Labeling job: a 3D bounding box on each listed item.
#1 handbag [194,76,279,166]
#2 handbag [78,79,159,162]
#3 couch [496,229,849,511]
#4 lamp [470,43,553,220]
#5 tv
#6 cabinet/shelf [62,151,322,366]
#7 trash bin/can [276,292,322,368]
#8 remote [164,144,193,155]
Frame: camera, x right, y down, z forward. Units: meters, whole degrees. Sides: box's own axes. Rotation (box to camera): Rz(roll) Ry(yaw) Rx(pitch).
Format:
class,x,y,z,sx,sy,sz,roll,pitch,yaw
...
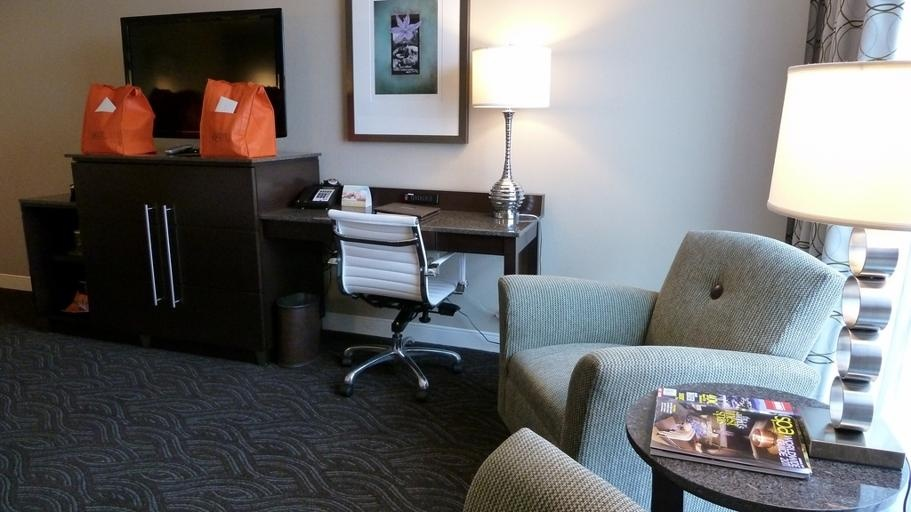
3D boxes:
class,x,y,z,sx,sy,sz,roll,pitch,yaw
handbag,-1.476,-0.917,4.362,0.697,0.600,0.358,6,8,23
handbag,-2.459,-1.011,4.668,0.596,0.501,0.315,9,14,23
couch,1.095,0.478,3.590,1.649,1.394,1.469,-1,12,-11
lamp,0.336,-0.796,4.189,0.524,1.117,0.403,3,17,5
tv,-1.771,-1.243,4.543,1.326,0.785,0.096,3,13,8
cabinet/shelf,-1.809,0.005,4.485,1.606,1.165,0.775,3,9,16
trash bin/can,-1.097,0.542,4.457,0.296,0.424,0.177,-2,17,-13
remote,-1.995,-0.768,4.642,0.085,0.060,0.272,1,6,12
